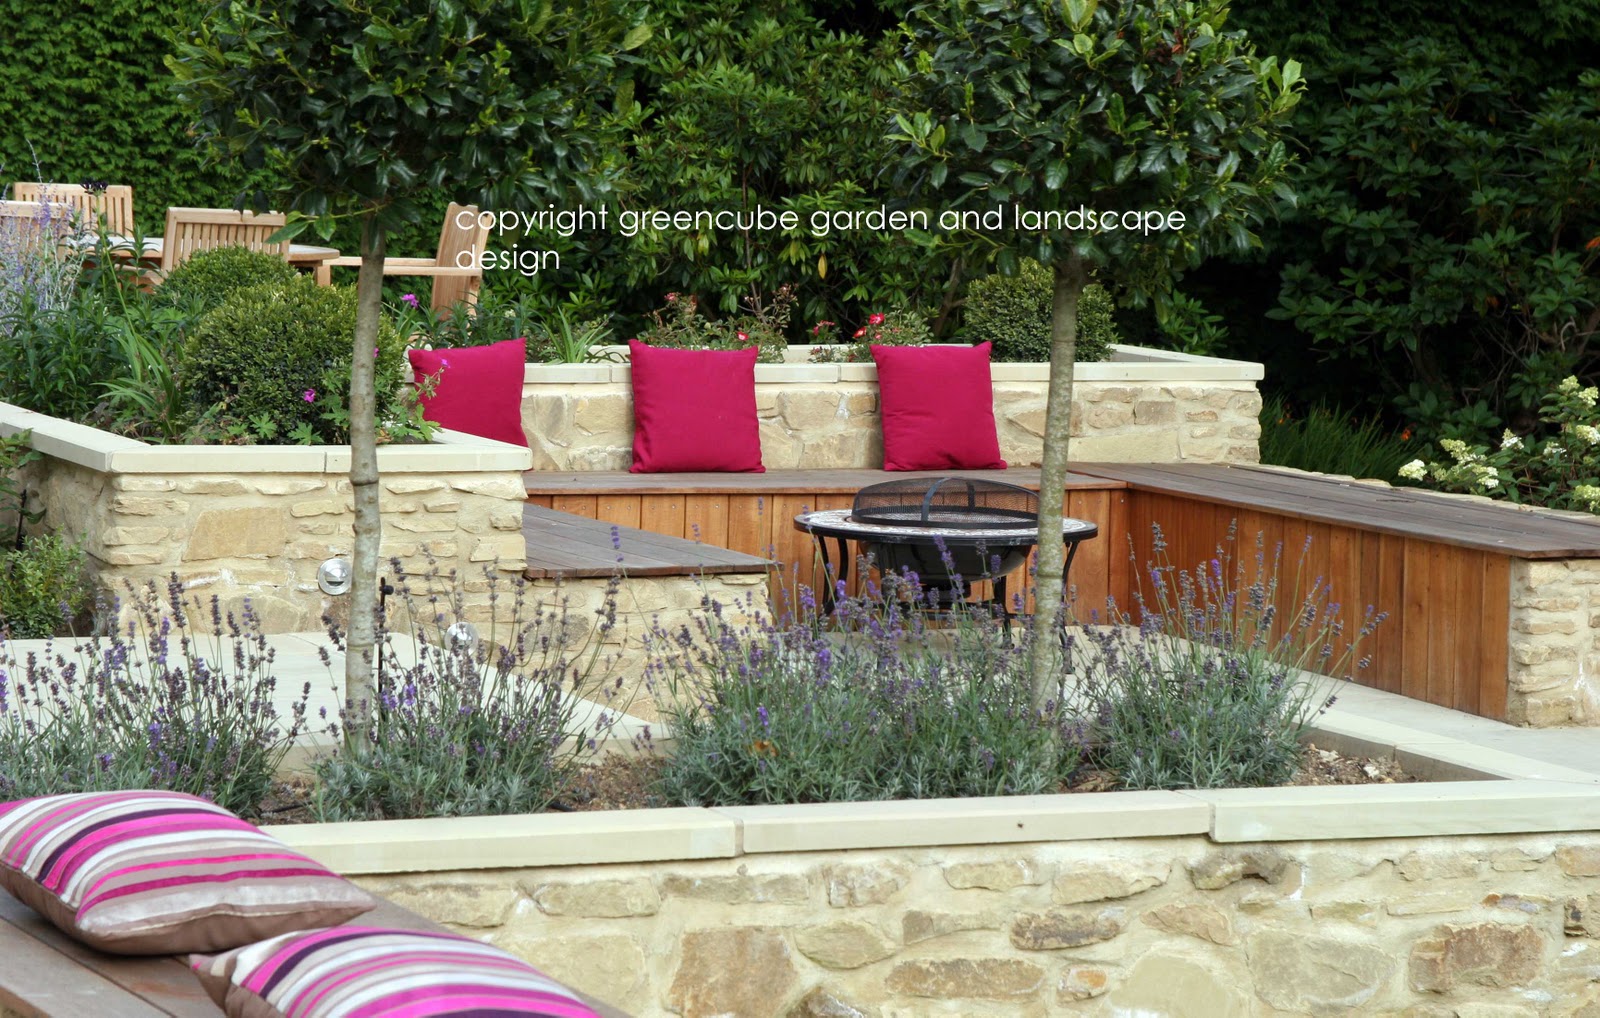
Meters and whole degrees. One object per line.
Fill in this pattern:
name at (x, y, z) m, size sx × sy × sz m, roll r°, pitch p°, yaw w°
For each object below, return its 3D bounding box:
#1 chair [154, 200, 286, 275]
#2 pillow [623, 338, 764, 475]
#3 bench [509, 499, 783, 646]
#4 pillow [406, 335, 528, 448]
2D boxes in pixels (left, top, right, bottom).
chair at (-3.160, -1.484, 14.328) m, size 0.663 × 0.319 × 0.481 m, roll -4°, pitch 10°, yaw -16°
pillow at (-0.580, -0.512, 13.847) m, size 0.591 × 0.684 × 0.219 m, roll 1°, pitch -21°, yaw -10°
bench at (-0.742, 0.289, 11.852) m, size 1.061 × 0.548 × 1.854 m, roll -5°, pitch 11°, yaw -24°
pillow at (-1.677, -0.566, 13.184) m, size 0.527 × 0.610 × 0.197 m, roll -3°, pitch -5°, yaw -21°
